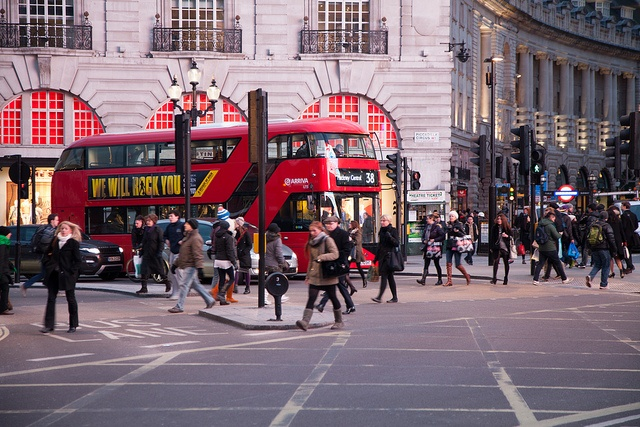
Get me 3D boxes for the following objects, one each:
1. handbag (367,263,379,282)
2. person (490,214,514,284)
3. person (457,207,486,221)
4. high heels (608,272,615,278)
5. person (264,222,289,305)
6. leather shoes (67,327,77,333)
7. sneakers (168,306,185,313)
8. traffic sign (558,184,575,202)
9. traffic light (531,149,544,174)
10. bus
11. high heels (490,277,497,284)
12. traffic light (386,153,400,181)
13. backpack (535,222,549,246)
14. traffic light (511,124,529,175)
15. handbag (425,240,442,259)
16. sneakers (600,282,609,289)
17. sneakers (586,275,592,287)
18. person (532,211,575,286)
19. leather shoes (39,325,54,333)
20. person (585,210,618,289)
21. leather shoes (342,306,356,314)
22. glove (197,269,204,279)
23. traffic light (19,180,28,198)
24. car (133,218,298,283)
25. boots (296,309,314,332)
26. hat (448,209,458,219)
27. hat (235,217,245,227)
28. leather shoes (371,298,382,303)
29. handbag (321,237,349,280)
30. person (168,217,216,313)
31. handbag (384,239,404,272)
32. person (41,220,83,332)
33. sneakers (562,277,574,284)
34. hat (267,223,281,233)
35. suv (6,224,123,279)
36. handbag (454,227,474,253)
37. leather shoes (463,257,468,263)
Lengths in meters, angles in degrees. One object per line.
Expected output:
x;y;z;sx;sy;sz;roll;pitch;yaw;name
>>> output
1.670;1.731;31.808;0.439;0.818;0.874;0;2;3;handbag
5.727;1.140;32.356;0.660;2.215;1.276;0;-2;11;person
6.890;0.073;47.084;0.964;0.432;0.965;1;1;31;person
9.544;2.019;33.574;0.101;0.132;0.321;-8;12;-29;high heels
-1.218;0.957;28.122;0.564;1.412;0.812;0;-2;-2;person
-5.763;2.725;23.851;0.115;0.108;0.280;0;-7;-5;leather shoes
-3.720;2.499;26.485;0.358;0.150;0.139;3;-2;0;sneakers
10.259;-0.922;42.797;0.808;0.591;2.252;0;-2;14;traffic sign
7.393;-1.792;34.781;0.441;0.905;0.614;0;-2;12;traffic light
-4.115;-0.792;38.319;13.154;4.808;4.698;-1;1;19;bus
5.492;2.148;32.358;0.117;0.208;0.219;-1;-10;1;high heels
2.918;-1.782;40.313;0.517;1.256;1.773;0;-2;4;traffic light
6.856;0.645;31.738;0.448;0.624;0.271;-1;-2;25;backpack
6.911;-2.238;35.272;0.585;1.791;1.131;0;-2;9;traffic light
3.560;1.141;32.293;0.686;0.836;0.444;1;-5;2;handbag
8.527;2.183;30.808;0.243;0.205;0.283;0;-2;12;sneakers
8.154;2.098;30.967;0.154;0.424;0.202;-3;16;26;sneakers
7.226;1.050;32.086;1.076;2.358;1.193;0;-2;18;person
-6.380;2.720;23.888;0.420;0.123;0.228;0;-2;15;leather shoes
8.449;1.264;30.907;0.812;2.047;0.574;-1;-2;28;person
0.720;2.498;26.299;0.375;0.164;0.126;-10;22;35;leather shoes
-3.159;1.577;27.005;0.196;0.168;0.649;16;-11;1;glove
-9.146;-0.741;31.653;0.208;0.522;0.826;1;-2;-8;traffic light
-3.139;1.166;32.937;4.243;1.352;2.102;0;-2;16;car
-0.381;2.497;24.103;0.412;0.528;0.307;1;-2;-21;boots
4.255;0.022;32.578;0.234;0.231;0.301;-2;-7;10;hat
-2.314;0.228;29.293;0.246;0.234;0.203;0;4;30;hat
1.545;2.391;28.090;0.239;0.134;0.367;0;-2;3;leather shoes
0.341;1.119;24.171;0.747;0.675;0.415;-16;2;-12;handbag
-3.330;1.361;26.560;1.074;2.425;0.502;1;-2;-8;person
2.074;1.224;27.834;0.325;0.668;0.509;-2;-3;41;handbag
-6.077;1.490;24.088;0.862;2.593;0.567;1;-2;-9;person
7.770;2.123;32.109;0.408;0.126;0.146;-18;22;-37;sneakers
-1.281;0.352;28.109;0.325;0.309;0.231;25;-4;-28;hat
-8.816;1.330;34.331;4.258;1.656;1.966;-1;-3;11;suv
4.654;0.871;31.956;0.895;0.800;0.498;-1;9;-1;handbag
5.943;1.919;41.858;0.063;0.197;0.203;-14;12;33;leather shoes
